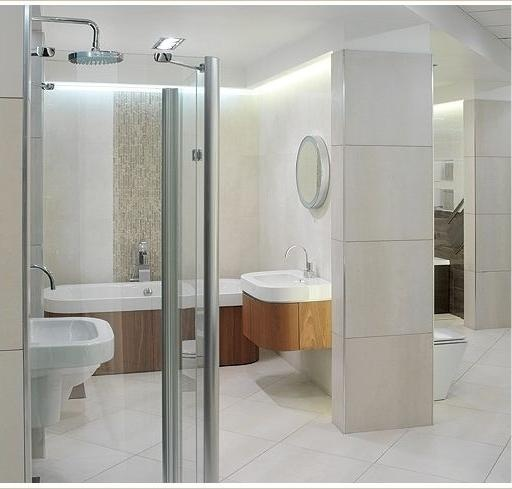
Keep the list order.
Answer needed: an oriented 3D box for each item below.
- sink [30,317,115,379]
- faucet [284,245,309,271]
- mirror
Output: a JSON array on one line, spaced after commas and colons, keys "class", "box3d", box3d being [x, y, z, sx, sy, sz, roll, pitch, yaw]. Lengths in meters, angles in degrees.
[{"class": "sink", "box3d": [-0.612, 0.338, 1.538, 0.194, 0.109, 0.154, -1, 13, -13]}, {"class": "faucet", "box3d": [0.297, 0.104, 3.724, 0.186, 0.278, 0.164, -1, 1, -15]}, {"class": "mirror", "box3d": [0.436, -0.554, 3.533, 0.083, 0.695, 0.572, 0, 3, -16]}]
